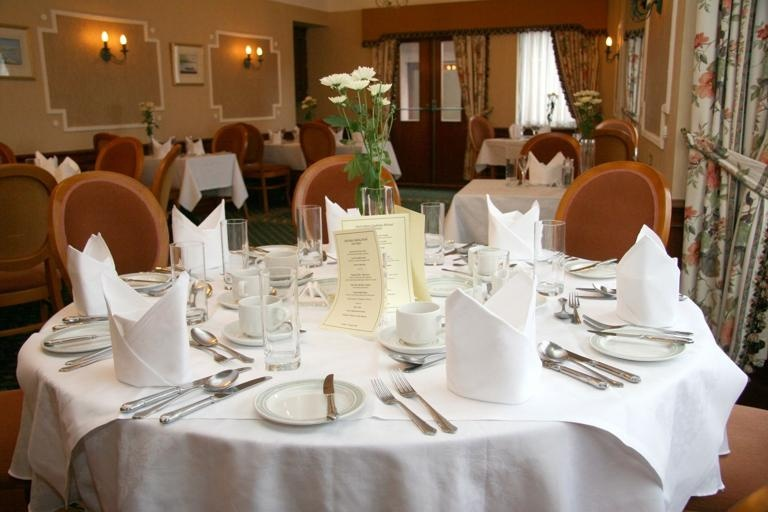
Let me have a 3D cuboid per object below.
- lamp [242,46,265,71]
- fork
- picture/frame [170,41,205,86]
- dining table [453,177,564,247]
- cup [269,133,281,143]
[{"bbox_3d":[-2.159,-3.235,9.346,0.212,0.488,0.362,8,16,30],"label":"lamp"},{"bbox_3d":[0.077,0.367,1.432,0.081,0.037,0.286,-12,32,-21],"label":"fork"},{"bbox_3d":[-2.897,-2.811,8.334,0.044,0.709,0.621,8,12,30],"label":"picture/frame"},{"bbox_3d":[0.771,-0.359,3.927,0.518,0.250,0.575,-1,16,1],"label":"dining table"},{"bbox_3d":[-1.663,-1.816,8.768,0.197,0.173,0.166,-5,14,-16],"label":"cup"}]
